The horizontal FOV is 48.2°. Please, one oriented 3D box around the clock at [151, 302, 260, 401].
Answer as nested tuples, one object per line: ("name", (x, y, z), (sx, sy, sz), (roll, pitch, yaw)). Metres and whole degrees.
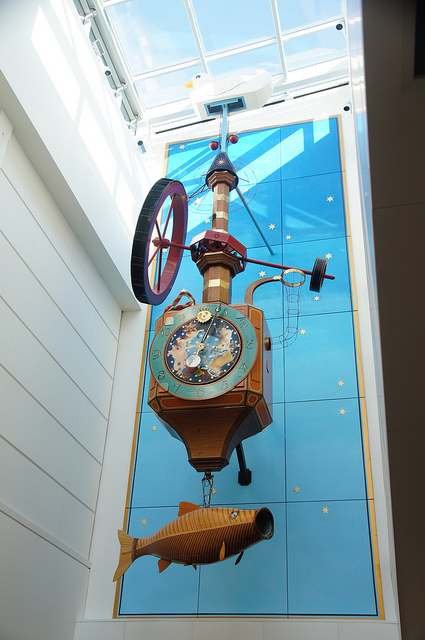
("clock", (-0.032, 0.227, 3.171), (0.647, 0.075, 0.735), (-1, 54, 12))
